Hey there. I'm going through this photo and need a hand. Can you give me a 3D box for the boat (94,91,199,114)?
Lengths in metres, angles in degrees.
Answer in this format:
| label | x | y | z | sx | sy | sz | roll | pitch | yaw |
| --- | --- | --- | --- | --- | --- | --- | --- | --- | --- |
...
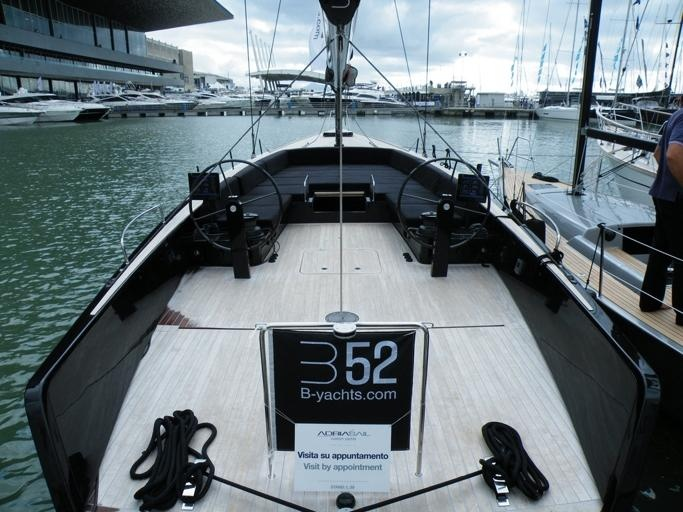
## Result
| label | x | y | z | sx | sy | sz | roll | pitch | yaw |
| --- | --- | --- | --- | --- | --- | --- | --- | --- | --- |
| boat | -11.786 | -9.275 | 26.744 | 5.820 | 1.154 | 1.639 | -7 | 47 | -25 |
